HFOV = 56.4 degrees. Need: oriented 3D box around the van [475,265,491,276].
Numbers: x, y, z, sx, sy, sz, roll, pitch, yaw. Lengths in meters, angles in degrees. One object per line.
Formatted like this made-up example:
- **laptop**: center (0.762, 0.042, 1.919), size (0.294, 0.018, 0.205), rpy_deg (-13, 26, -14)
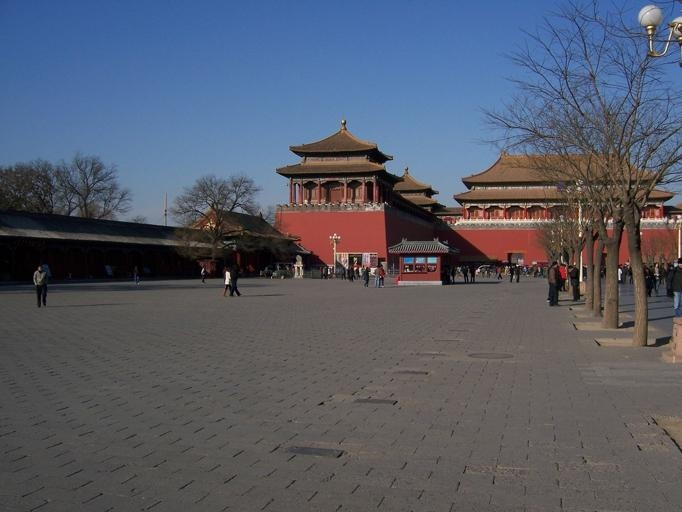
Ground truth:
- **van**: center (17.130, 1.649, 76.414), size (1.337, 0.690, 2.262), rpy_deg (1, 4, 19)
